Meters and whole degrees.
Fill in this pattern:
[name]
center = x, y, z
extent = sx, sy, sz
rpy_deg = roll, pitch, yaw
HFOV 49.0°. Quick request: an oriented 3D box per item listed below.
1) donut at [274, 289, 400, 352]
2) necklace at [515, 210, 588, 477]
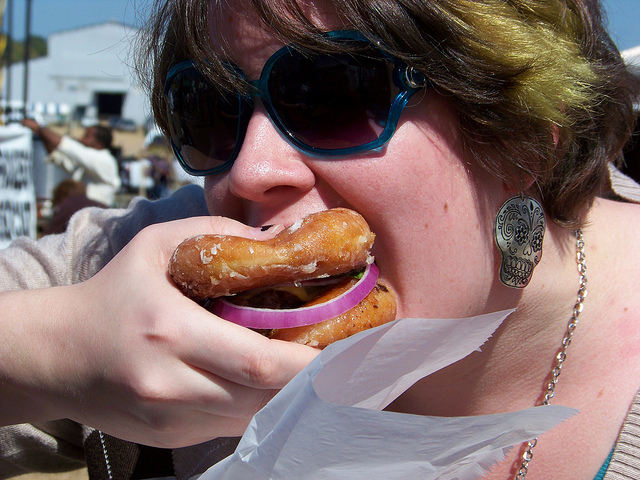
[donut]
center = 0.074, 0.290, 2.796
extent = 0.445, 0.216, 0.292
rpy_deg = -6, 14, -33
[necklace]
center = 1.060, 0.459, 3.226
extent = 0.203, 1.180, 0.514
rpy_deg = 13, 18, 31
